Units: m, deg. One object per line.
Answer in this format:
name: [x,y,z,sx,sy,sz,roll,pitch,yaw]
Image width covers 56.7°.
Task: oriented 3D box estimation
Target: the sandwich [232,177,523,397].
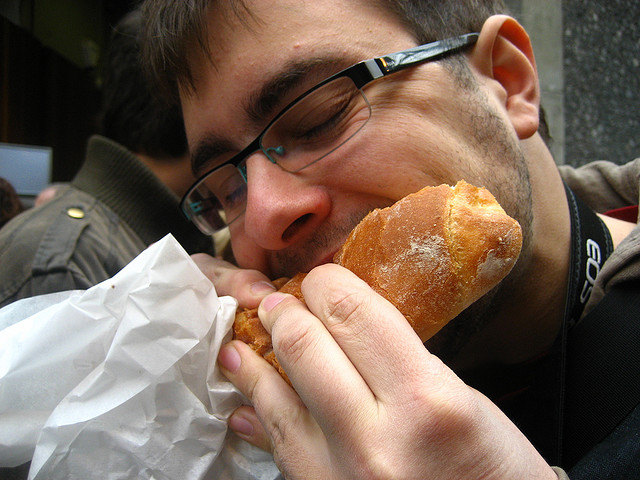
sandwich: [0.328,0.055,1.880,0.547,0.447,0.245,13,29,1]
